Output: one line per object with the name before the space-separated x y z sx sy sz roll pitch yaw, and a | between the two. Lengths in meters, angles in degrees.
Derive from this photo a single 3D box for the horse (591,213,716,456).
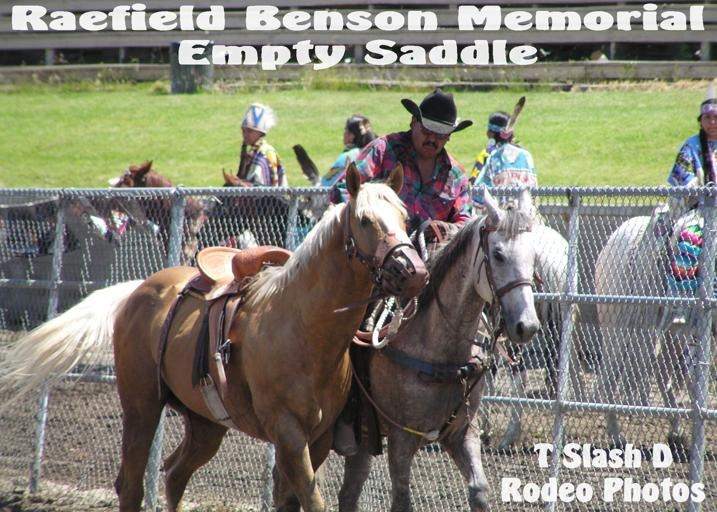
horse | 2.951 0.757 16.043 1.078 2.469 0.631 2 7 13

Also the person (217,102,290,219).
person | -1.238 -1.087 19.047 0.683 1.511 0.709 -10 13 -39

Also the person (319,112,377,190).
person | -0.030 -1.125 18.878 0.480 1.048 0.720 2 -21 23

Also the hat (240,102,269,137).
hat | -1.227 -1.653 19.285 0.312 0.331 0.378 1 51 20
